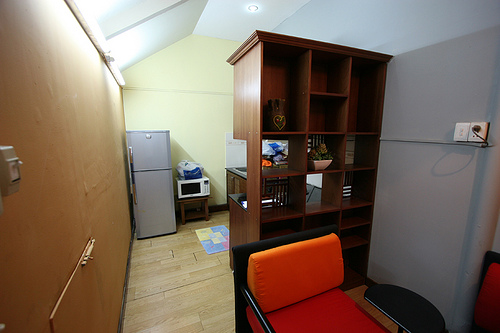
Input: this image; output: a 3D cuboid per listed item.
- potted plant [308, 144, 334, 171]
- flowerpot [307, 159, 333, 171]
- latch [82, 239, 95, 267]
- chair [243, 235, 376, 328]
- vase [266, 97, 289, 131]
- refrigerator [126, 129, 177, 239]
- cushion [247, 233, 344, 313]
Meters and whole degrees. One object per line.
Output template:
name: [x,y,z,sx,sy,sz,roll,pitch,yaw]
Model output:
potted plant: [0.706,-0.079,3.241,0.247,0.252,0.246,5,-4,-15]
flowerpot: [0.677,-0.013,3.120,0.219,0.112,0.078,2,10,11]
latch: [-1.157,0.626,2.268,0.030,0.113,0.060,15,-24,-6]
chair: [0.392,0.980,2.631,0.754,0.543,0.746,-4,12,-17]
vase: [0.281,-0.513,3.081,0.239,0.320,0.208,-2,10,-10]
refrigerator: [-1.459,0.299,4.688,0.678,1.448,0.610,-9,12,-31]
cushion: [0.375,0.915,2.653,0.559,0.318,0.118,-8,7,-22]
